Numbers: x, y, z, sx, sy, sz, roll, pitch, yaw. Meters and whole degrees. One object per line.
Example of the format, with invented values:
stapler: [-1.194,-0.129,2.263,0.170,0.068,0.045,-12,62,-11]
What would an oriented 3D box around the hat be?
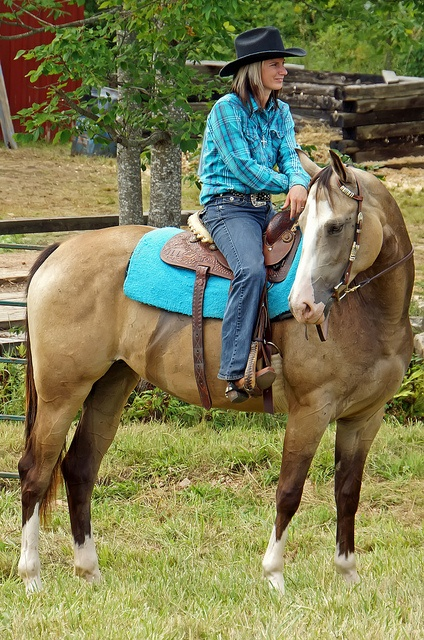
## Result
hat: [0.253,-1.368,3.482,0.354,0.122,0.303,-15,-1,35]

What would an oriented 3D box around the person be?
person: [0.222,-0.541,3.488,0.551,1.893,0.514,0,-5,-2]
